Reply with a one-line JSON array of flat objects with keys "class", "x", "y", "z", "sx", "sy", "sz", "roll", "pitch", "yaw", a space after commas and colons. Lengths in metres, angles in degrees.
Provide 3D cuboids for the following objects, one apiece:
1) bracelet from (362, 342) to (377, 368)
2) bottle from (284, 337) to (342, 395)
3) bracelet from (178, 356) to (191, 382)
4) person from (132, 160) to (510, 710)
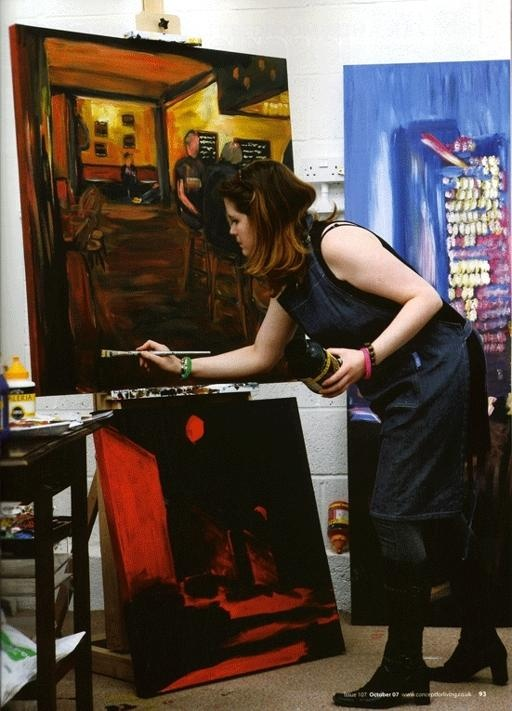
[{"class": "bracelet", "x": 0.289, "y": 0.008, "z": 1.700, "sx": 0.039, "sy": 0.062, "sz": 0.058, "roll": -2, "pitch": 1, "yaw": 0}, {"class": "bottle", "x": 0.150, "y": 0.026, "z": 1.668, "sx": 0.094, "sy": 0.162, "sz": 0.140, "roll": 4, "pitch": 17, "yaw": 40}, {"class": "bracelet", "x": -0.200, "y": 0.038, "z": 1.906, "sx": 0.040, "sy": 0.054, "sz": 0.027, "roll": 1, "pitch": 0, "yaw": 26}, {"class": "person", "x": 0.296, "y": 0.197, "z": 1.861, "sx": 0.765, "sy": 1.496, "sz": 0.477, "roll": -9, "pitch": 13, "yaw": -5}]
